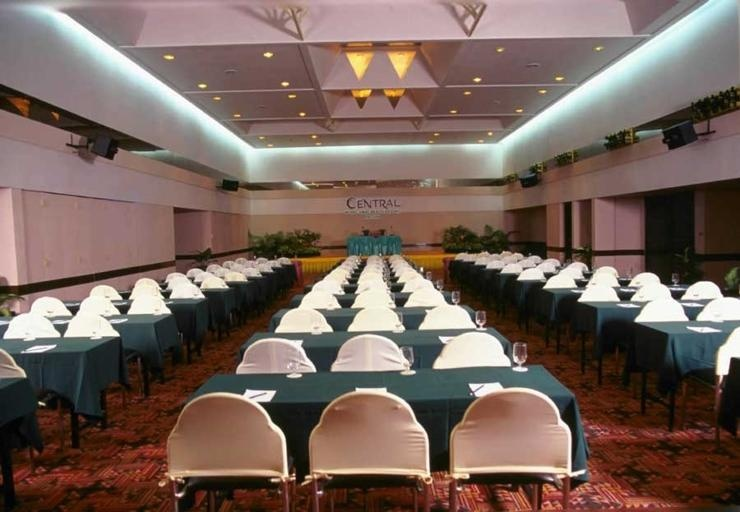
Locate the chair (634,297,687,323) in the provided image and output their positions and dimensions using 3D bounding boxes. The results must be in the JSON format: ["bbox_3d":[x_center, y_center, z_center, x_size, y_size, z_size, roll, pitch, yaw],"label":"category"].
[{"bbox_3d":[3.615,0.692,6.624,0.407,0.548,0.398,-1,-1,12],"label":"chair"}]

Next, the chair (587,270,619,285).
[{"bbox_3d":[4.063,0.404,9.371,0.316,0.154,0.368,0,1,4],"label":"chair"}]

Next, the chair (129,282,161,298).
[{"bbox_3d":[-3.904,0.605,9.334,0.370,0.196,0.377,1,8,2],"label":"chair"}]

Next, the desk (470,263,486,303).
[{"bbox_3d":[2.577,0.598,12.630,0.607,0.940,0.680,-1,-3,13],"label":"desk"}]

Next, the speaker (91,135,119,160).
[{"bbox_3d":[-5.481,-2.240,10.950,0.280,0.460,0.458,4,-2,16],"label":"speaker"}]

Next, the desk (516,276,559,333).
[{"bbox_3d":[2.866,0.900,9.339,0.688,0.905,0.800,-1,7,2],"label":"desk"}]

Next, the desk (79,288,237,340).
[{"bbox_3d":[-3.730,1.057,9.139,2.487,0.960,0.783,-2,1,20],"label":"desk"}]

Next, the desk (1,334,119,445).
[{"bbox_3d":[-3.562,1.347,6.414,1.421,1.006,1.110,-1,0,3],"label":"desk"}]

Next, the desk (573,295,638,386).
[{"bbox_3d":[3.115,1.181,7.588,0.919,1.033,1.048,0,2,2],"label":"desk"}]

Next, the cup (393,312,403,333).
[{"bbox_3d":[0.314,0.837,6.579,0.162,0.244,0.178,0,-4,0],"label":"cup"}]

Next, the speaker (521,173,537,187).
[{"bbox_3d":[5.296,-2.523,17.531,0.401,0.358,1.116,-2,1,1],"label":"speaker"}]

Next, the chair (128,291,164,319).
[{"bbox_3d":[-3.286,0.722,7.908,0.389,0.244,0.392,2,-5,-18],"label":"chair"}]

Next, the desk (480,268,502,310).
[{"bbox_3d":[2.610,0.690,11.516,0.653,0.885,0.665,1,1,0],"label":"desk"}]

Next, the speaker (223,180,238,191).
[{"bbox_3d":[-4.699,-2.376,17.871,0.118,0.337,0.523,1,-1,28],"label":"speaker"}]

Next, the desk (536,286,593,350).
[{"bbox_3d":[3.116,0.958,8.791,0.805,0.802,0.808,0,9,0],"label":"desk"}]

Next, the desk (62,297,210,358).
[{"bbox_3d":[-2.929,1.099,7.926,1.064,0.586,1.044,-16,2,-8],"label":"desk"}]

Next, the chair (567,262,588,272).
[{"bbox_3d":[4.599,0.232,11.637,0.358,0.172,0.413,-1,-2,12],"label":"chair"}]

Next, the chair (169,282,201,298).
[{"bbox_3d":[-3.169,0.613,9.194,0.335,0.206,0.341,1,3,13],"label":"chair"}]

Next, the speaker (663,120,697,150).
[{"bbox_3d":[6.033,-2.341,10.386,0.547,0.458,0.839,-3,2,4],"label":"speaker"}]

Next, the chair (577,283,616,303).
[{"bbox_3d":[3.379,0.570,7.877,0.342,0.457,0.343,-2,-8,14],"label":"chair"}]

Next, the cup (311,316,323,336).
[{"bbox_3d":[-0.655,0.825,6.252,0.169,0.192,0.182,0,-9,0],"label":"cup"}]
